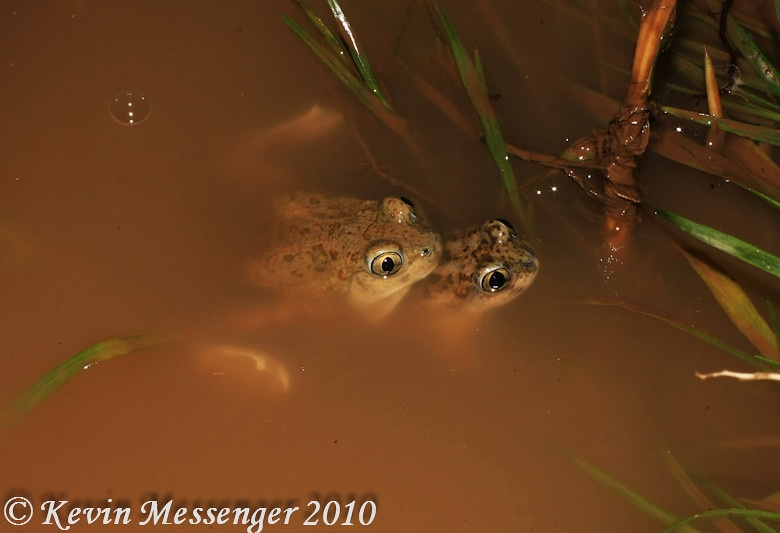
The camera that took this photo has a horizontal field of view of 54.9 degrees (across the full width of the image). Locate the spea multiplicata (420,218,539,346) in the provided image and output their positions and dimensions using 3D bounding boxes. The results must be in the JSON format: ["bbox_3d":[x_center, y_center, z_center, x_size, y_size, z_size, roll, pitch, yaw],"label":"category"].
[{"bbox_3d":[0.340,0.019,3.000,0.470,0.261,0.344,-26,67,-21],"label":"spea multiplicata"}]
